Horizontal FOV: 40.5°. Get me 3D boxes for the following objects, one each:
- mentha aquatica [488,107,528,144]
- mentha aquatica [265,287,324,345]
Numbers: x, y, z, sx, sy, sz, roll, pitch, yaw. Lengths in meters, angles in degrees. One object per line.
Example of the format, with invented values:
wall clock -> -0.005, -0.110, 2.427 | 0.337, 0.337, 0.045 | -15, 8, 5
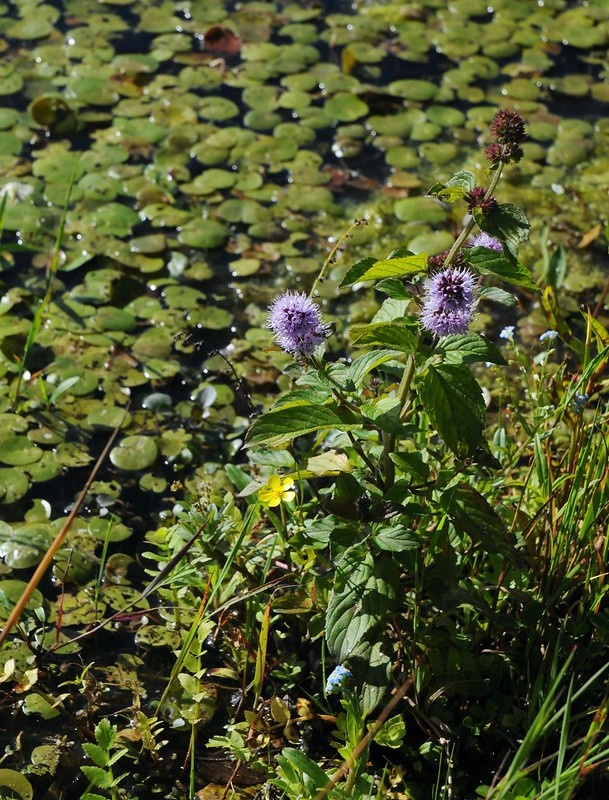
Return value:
mentha aquatica -> 0.465, -0.623, 1.887 | 0.076, 0.081, 0.108 | 4, 31, 9
mentha aquatica -> -0.024, -0.188, 2.017 | 0.131, 0.153, 0.192 | -3, 31, -2
